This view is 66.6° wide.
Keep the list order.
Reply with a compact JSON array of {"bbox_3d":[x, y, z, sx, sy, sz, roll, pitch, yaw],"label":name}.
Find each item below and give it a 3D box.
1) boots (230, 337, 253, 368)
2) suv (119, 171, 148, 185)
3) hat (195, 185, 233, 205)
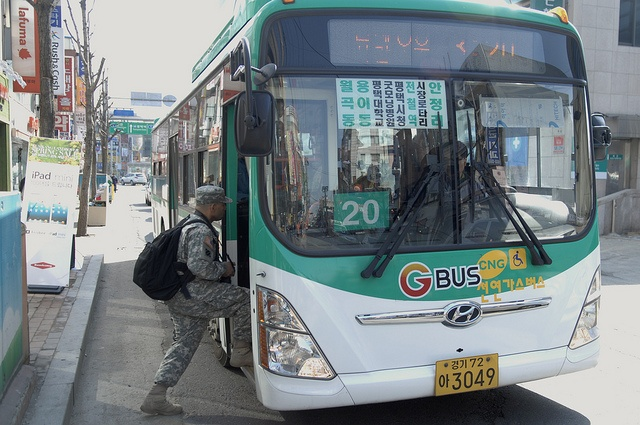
[{"bbox_3d":[-0.868,1.589,5.603,0.321,0.361,0.206,-2,-2,13],"label":"boots"},{"bbox_3d":[-28.430,-5.075,74.874,4.977,1.816,1.478,5,9,33],"label":"suv"},{"bbox_3d":[-1.213,-0.196,5.562,0.308,0.155,0.227,-5,9,-31],"label":"hat"}]
